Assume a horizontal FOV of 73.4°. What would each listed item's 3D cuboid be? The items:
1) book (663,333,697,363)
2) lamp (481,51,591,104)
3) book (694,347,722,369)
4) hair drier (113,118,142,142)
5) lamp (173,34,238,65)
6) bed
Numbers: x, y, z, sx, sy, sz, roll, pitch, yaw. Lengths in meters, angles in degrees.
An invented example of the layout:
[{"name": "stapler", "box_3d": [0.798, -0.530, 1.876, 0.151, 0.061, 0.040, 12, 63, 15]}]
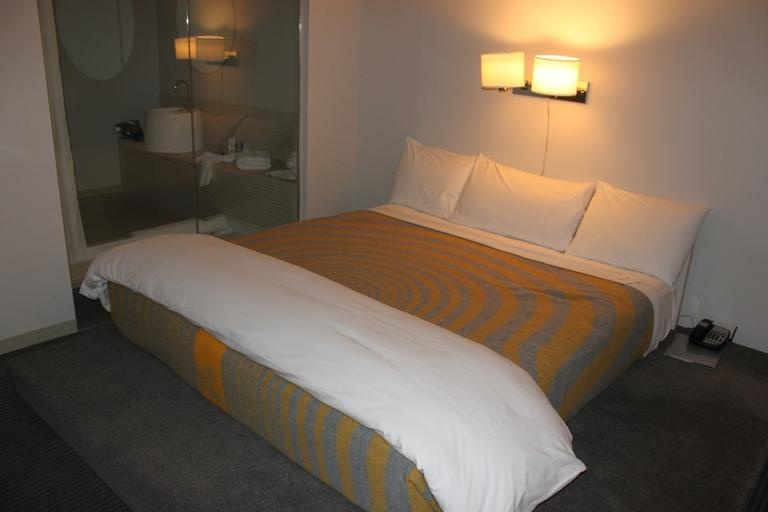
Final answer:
[{"name": "book", "box_3d": [2.113, 0.655, 3.671, 0.144, 0.003, 0.229, 7, 29, 29]}, {"name": "lamp", "box_3d": [1.177, -1.417, 4.015, 0.793, 0.348, 0.379, 24, 26, 34]}, {"name": "book", "box_3d": [2.260, 0.714, 3.600, 0.128, 0.015, 0.113, 3, 42, 35]}, {"name": "hair drier", "box_3d": [-2.013, -0.999, 4.068, 0.063, 0.129, 0.179, 10, 3, 43]}, {"name": "lamp", "box_3d": [-1.471, -1.723, 4.284, 0.509, 0.228, 0.060, -8, 27, -39]}, {"name": "bed", "box_3d": [0.325, 0.413, 3.063, 2.075, 0.447, 1.995, 28, 29, 32]}]
